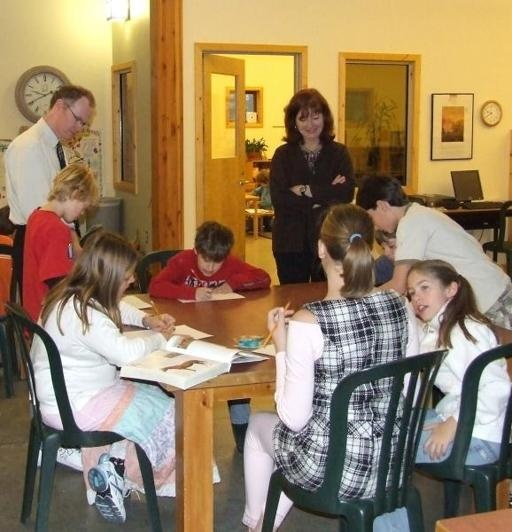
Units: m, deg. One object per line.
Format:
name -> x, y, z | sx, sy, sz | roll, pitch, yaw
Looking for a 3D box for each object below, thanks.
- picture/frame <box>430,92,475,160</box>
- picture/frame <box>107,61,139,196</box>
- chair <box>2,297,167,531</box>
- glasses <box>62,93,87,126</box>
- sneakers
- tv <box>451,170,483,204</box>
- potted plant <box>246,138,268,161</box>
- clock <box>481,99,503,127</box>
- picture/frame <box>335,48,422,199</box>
picture/frame -> 2.116, -1.546, 5.569 | 0.657, 0.957, 0.031 | -2, 4, -20
picture/frame -> -1.517, -1.621, 5.835 | 0.110, 2.069, 1.441 | -1, 5, -25
chair -> -0.604, 0.441, 2.178 | 0.724, 1.219, 0.661 | -3, 8, -22
glasses -> -0.993, -0.835, 2.770 | 0.032, 0.111, 0.104 | -16, -7, 17
sneakers -> -0.520, 0.758, 1.821 | 0.080, 0.133, 0.218 | -8, -35, 5
tv -> 2.289, -0.854, 5.626 | 0.370, 0.383, 0.091 | -1, -10, -26
potted plant -> -0.048, -2.154, 9.743 | 0.539, 0.429, 0.546 | -2, 6, -22
clock -> 2.616, -1.716, 5.690 | 0.260, 0.279, 0.038 | -5, 9, -23
picture/frame -> 1.273, -1.465, 5.412 | 0.822, 1.602, 0.070 | 2, -8, 3
